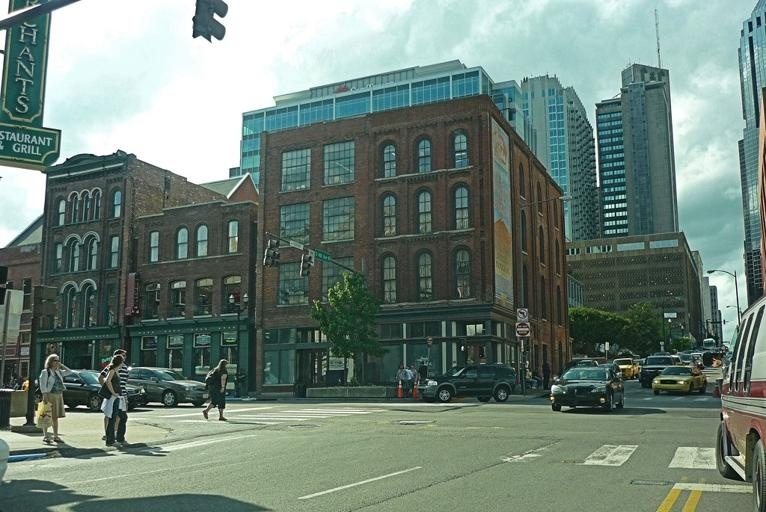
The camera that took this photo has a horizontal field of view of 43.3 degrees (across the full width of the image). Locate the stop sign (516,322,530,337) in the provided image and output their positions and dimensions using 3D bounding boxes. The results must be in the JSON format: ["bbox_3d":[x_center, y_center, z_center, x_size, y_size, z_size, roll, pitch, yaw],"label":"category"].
[{"bbox_3d":[7.452,3.880,51.605,0.545,0.803,1.026,-5,-14,16],"label":"stop sign"}]

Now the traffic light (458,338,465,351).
[{"bbox_3d":[4.919,5.490,60.013,0.494,0.842,0.158,-13,-18,40],"label":"traffic light"}]

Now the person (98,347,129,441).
[{"bbox_3d":[-9.027,4.761,32.503,0.906,2.946,0.879,-7,-14,26],"label":"person"}]

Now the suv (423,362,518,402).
[{"bbox_3d":[4.382,6.466,49.281,4.297,1.626,1.995,2,-12,-4],"label":"suv"}]

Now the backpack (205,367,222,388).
[{"bbox_3d":[-6.855,4.890,39.195,0.663,0.791,0.334,-11,-17,35],"label":"backpack"}]
